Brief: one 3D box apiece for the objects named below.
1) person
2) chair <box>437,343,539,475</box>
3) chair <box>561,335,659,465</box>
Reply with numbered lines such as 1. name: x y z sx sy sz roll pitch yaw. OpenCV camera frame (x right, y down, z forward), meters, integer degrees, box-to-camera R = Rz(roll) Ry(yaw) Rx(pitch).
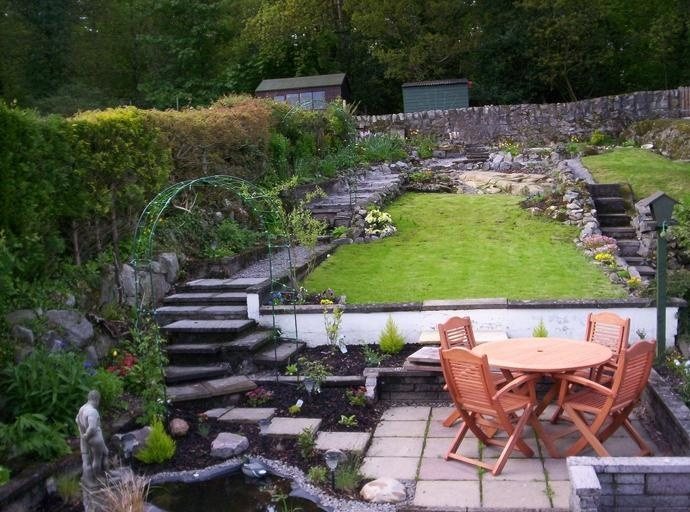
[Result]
1. person: -2.892 2.029 7.199 0.372 0.974 0.326 -14 17 -24
2. chair: 1.716 1.731 7.669 1.162 1.481 0.937 -8 16 -4
3. chair: 3.151 1.729 7.745 1.060 1.373 1.007 -1 0 -44
